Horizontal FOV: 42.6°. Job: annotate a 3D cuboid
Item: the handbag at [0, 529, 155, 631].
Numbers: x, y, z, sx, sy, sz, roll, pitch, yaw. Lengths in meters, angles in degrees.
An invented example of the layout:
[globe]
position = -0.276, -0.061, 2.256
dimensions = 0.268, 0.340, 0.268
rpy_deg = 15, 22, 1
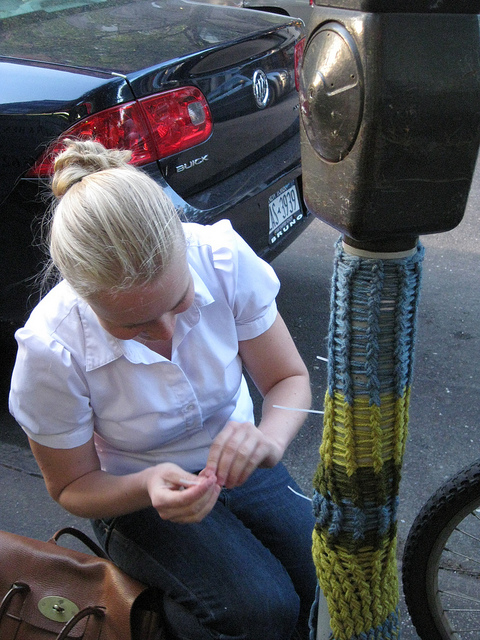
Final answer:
[handbag]
position = -0.395, 0.581, 1.318
dimensions = 0.374, 0.092, 0.200
rpy_deg = 6, 47, 17
